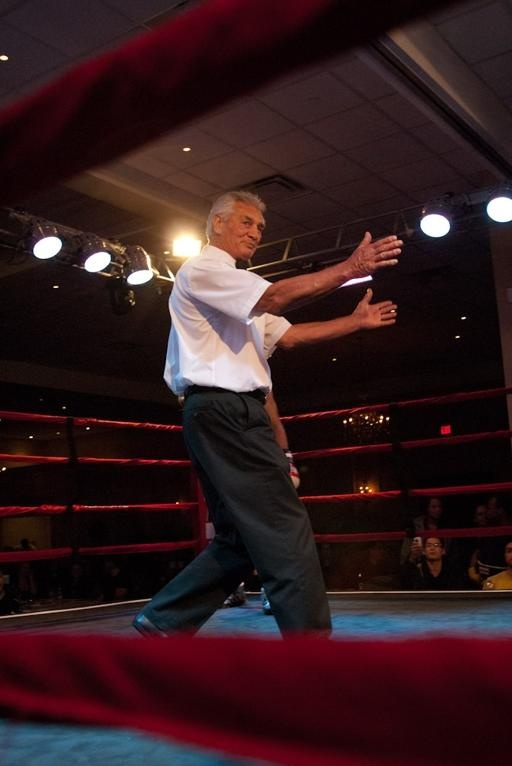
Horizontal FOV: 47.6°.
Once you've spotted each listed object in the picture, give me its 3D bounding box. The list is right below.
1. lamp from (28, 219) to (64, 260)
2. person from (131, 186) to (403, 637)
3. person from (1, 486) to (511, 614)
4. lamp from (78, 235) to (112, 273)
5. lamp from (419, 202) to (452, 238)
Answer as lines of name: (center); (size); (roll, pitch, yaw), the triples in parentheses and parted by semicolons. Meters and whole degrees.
lamp: (-1.911, -1.331, 5.299); (0.289, 0.274, 0.298); (-8, -35, -13)
person: (0.009, 0.085, 1.559); (0.655, 1.369, 0.780); (0, -2, -16)
person: (0.005, 1.471, 5.198); (4.011, 0.733, 0.568); (-3, -32, -1)
lamp: (-1.567, -1.253, 5.659); (0.331, 0.294, 0.314); (1, -2, -37)
lamp: (1.647, -1.496, 5.373); (0.244, 0.270, 0.288); (1, -2, -32)
